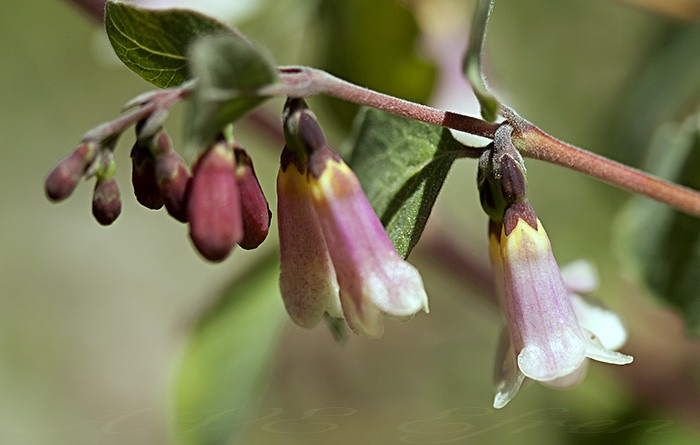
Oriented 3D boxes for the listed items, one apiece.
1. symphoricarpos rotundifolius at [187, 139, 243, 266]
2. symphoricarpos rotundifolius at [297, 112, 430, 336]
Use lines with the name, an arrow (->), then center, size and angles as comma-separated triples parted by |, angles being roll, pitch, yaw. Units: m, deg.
symphoricarpos rotundifolius -> -0.182, -0.028, 1.007 | 0.074, 0.164, 0.063 | -12, -22, 37
symphoricarpos rotundifolius -> -0.006, -0.009, 1.084 | 0.140, 0.366, 0.139 | -14, 11, 44
